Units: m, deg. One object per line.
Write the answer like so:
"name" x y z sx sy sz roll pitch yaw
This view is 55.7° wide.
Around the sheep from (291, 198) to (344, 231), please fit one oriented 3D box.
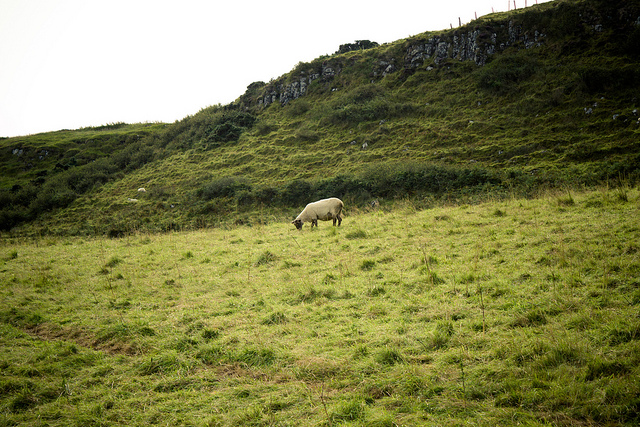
"sheep" -0.032 -0.082 50.366 3.774 2.102 1.652 -5 12 10
